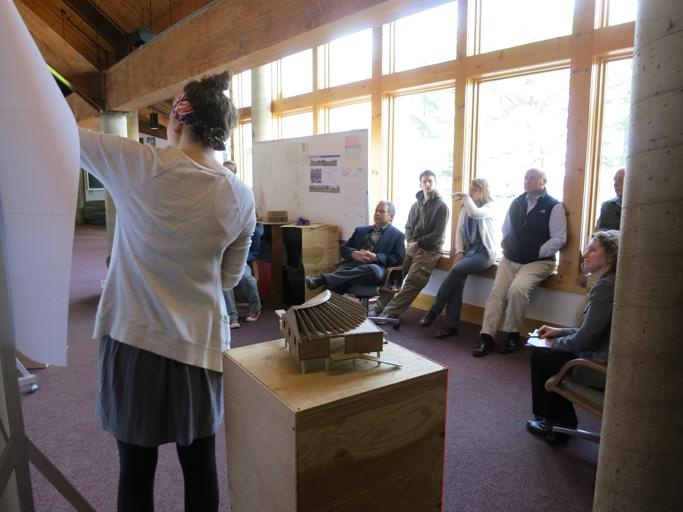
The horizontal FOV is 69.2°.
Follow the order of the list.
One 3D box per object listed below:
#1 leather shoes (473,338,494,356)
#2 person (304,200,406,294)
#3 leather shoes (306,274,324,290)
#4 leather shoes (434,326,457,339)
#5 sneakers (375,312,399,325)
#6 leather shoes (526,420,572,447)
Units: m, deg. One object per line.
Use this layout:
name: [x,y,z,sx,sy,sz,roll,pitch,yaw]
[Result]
leather shoes: [1.259,0.800,4.386,0.101,0.115,0.262,1,2,31]
person: [0.195,-0.081,5.218,0.735,0.878,1.212,12,20,34]
leather shoes: [-0.266,0.278,5.174,0.151,0.200,0.250,-3,13,-15]
leather shoes: [1.027,0.752,4.903,0.275,0.112,0.094,4,-4,-41]
sneakers: [0.463,0.648,5.161,0.175,0.076,0.135,2,0,-21]
leather shoes: [1.262,1.087,3.068,0.095,0.115,0.287,-25,28,-23]
